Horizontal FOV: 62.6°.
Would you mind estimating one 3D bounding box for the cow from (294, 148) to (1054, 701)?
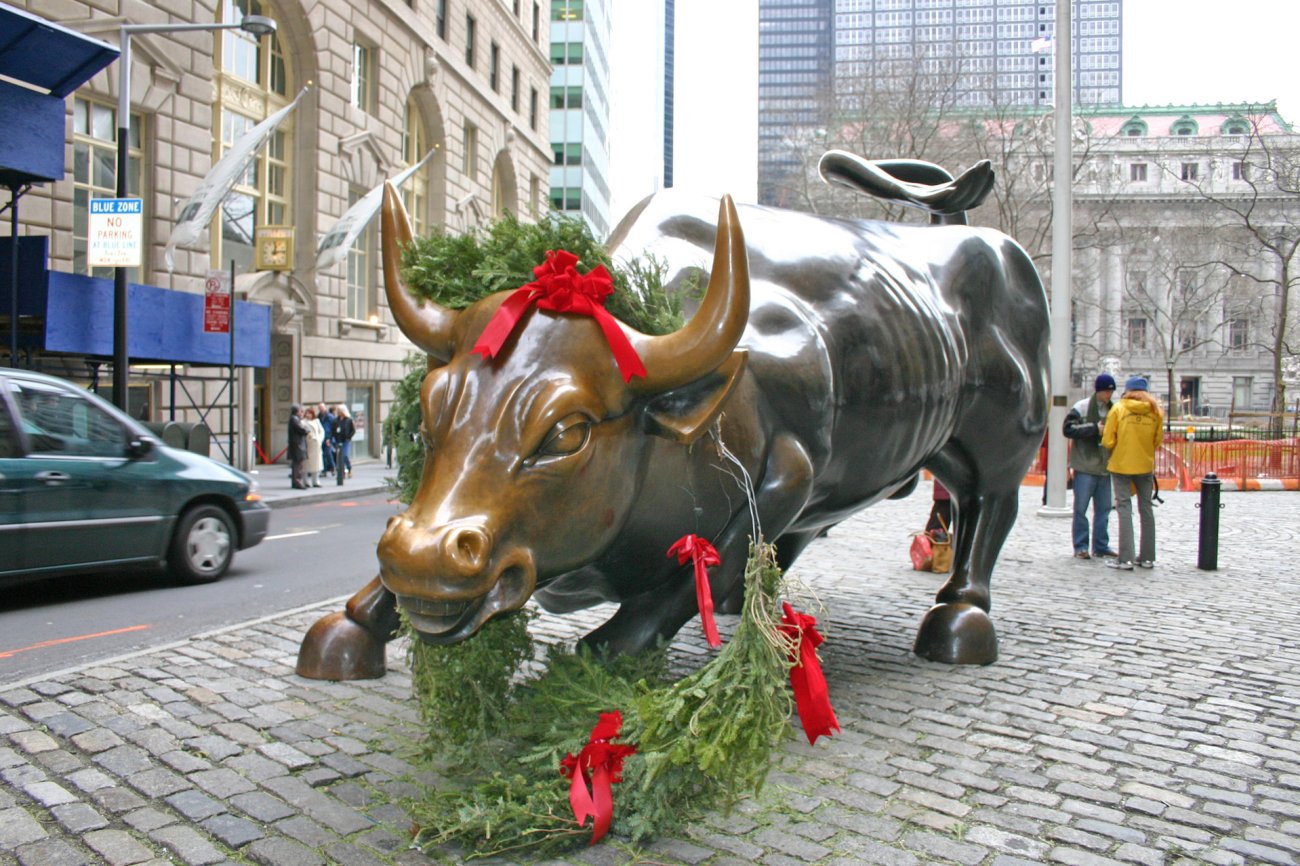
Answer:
[{"bbox_3d":[0.090,-0.138,7.477,5.264,3.782,3.475,-7,10,-43],"label":"cow"}]

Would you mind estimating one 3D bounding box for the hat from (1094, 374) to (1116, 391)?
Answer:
[{"bbox_3d":[5.449,-0.583,12.808,0.204,0.176,0.213,-4,-1,-4],"label":"hat"}]
